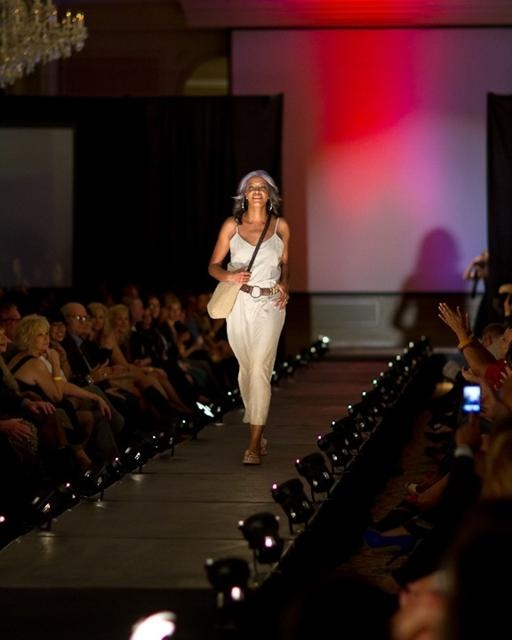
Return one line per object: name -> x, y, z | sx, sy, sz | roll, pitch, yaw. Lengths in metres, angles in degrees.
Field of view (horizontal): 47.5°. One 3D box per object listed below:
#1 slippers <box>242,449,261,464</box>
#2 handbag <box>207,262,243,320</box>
slippers -> -0.029, 0.931, 3.940 | 0.061, 0.071, 0.158 | -1, -18, 6
handbag -> -0.236, -0.167, 4.118 | 0.193, 0.279, 0.102 | 28, 9, 30
